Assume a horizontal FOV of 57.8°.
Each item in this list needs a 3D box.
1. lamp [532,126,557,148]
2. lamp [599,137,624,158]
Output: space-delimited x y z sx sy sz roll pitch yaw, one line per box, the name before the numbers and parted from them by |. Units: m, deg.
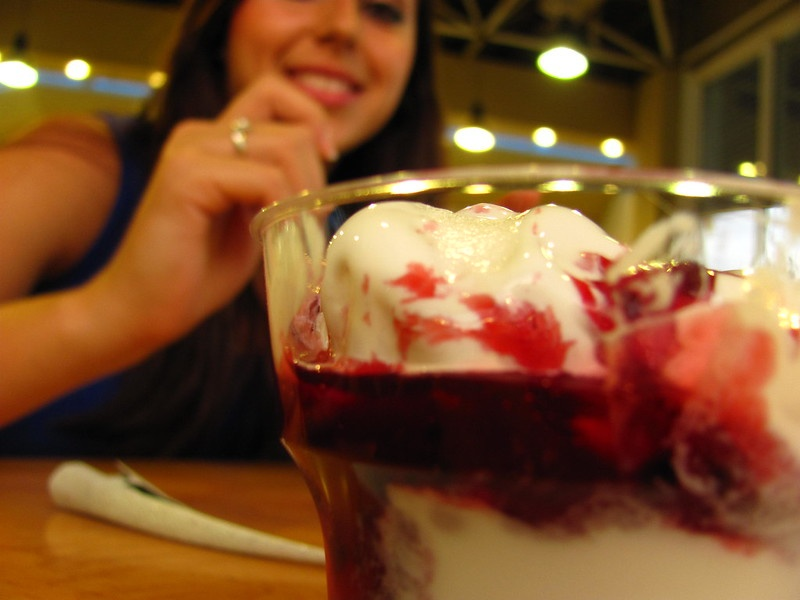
lamp | 1.125 -1.258 5.578 0.241 0.154 0.123 5 -5 -19
lamp | 1.633 -1.173 5.603 0.106 0.159 0.192 6 -5 -29
